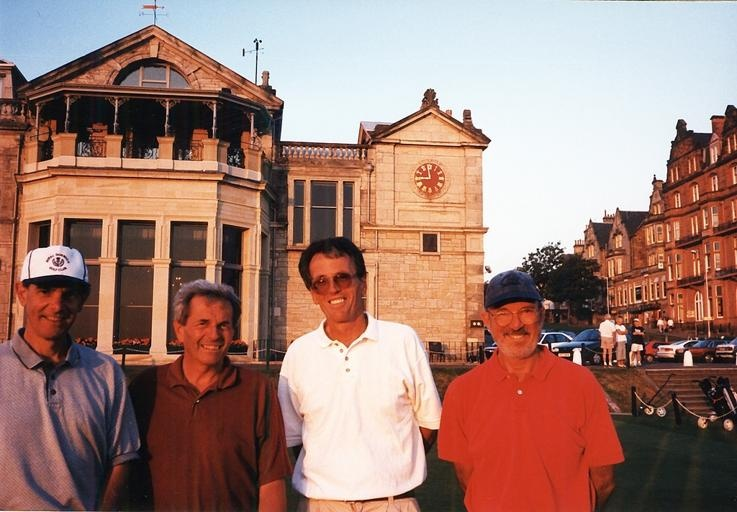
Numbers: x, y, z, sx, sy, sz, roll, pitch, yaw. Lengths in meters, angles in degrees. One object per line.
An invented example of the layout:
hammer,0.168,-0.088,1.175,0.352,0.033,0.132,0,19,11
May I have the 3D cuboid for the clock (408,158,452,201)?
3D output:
clock,2.249,-2.818,32.449,1.580,1.585,0.179,1,-5,0
